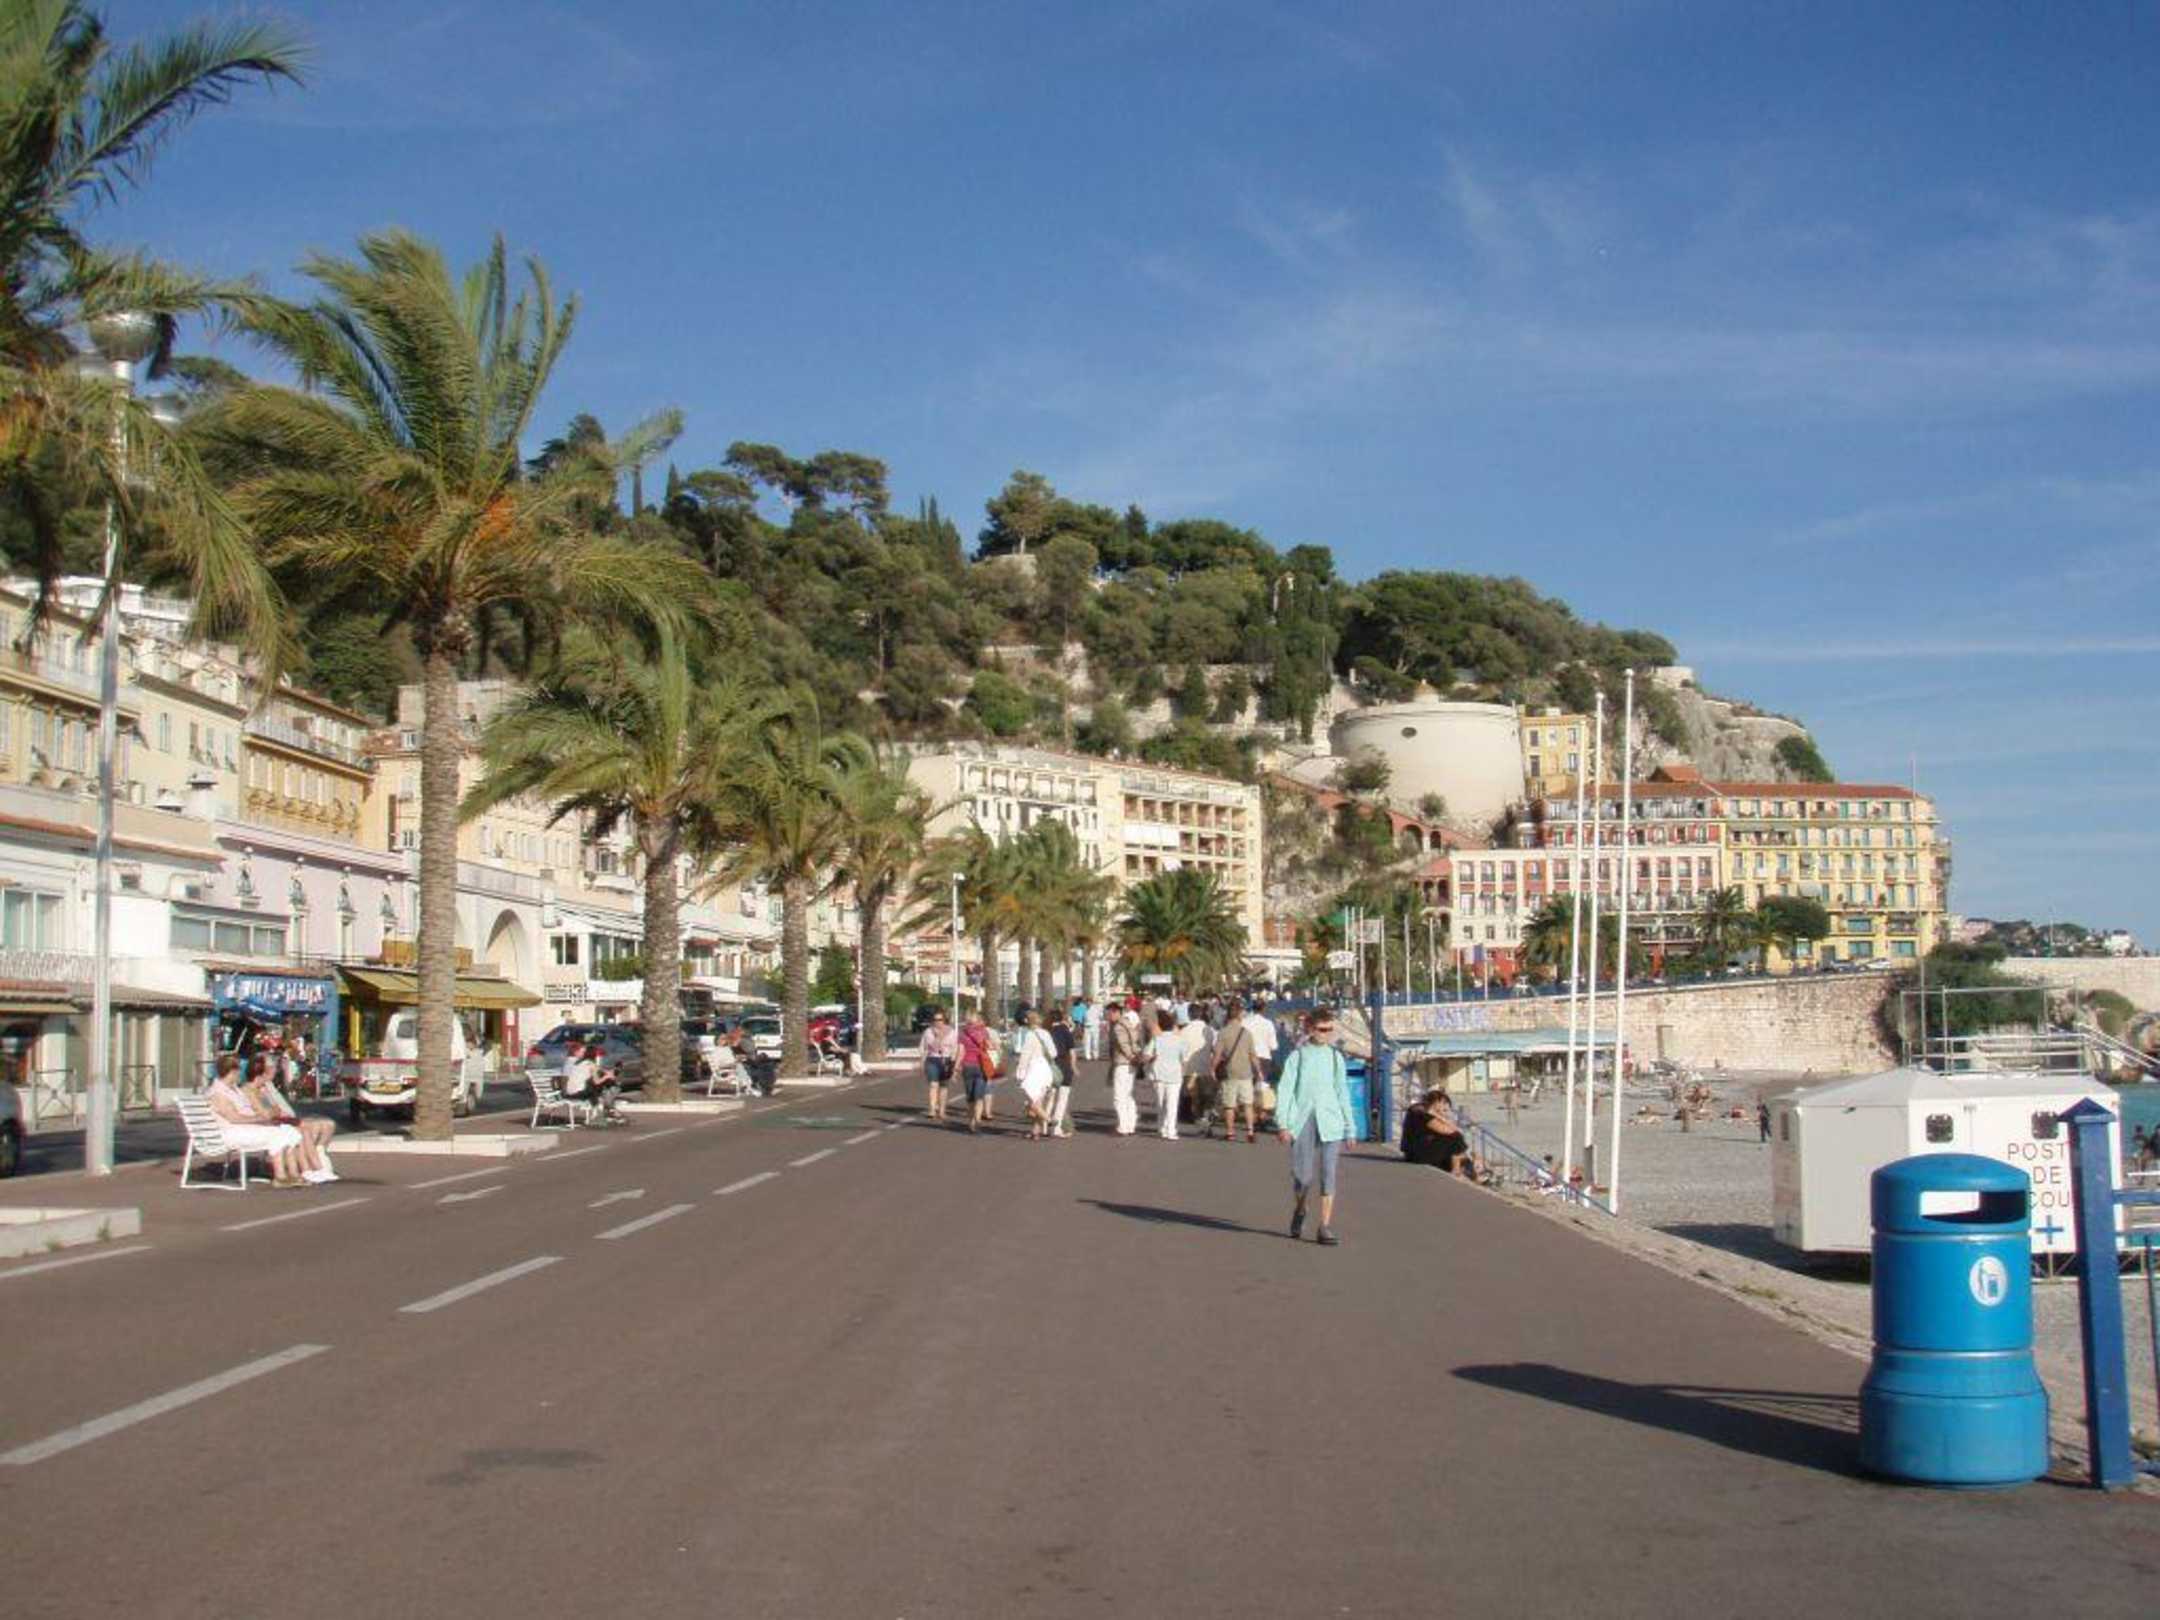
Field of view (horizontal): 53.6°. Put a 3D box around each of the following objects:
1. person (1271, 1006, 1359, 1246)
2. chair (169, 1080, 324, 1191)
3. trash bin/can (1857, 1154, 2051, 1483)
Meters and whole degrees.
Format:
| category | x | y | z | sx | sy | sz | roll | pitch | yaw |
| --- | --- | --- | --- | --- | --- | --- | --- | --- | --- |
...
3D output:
| category | x | y | z | sx | sy | sz | roll | pitch | yaw |
| --- | --- | --- | --- | --- | --- | --- | --- | --- | --- |
| person | 2.078 | 2.778 | 19.226 | 0.734 | 2.270 | 0.597 | -2 | -1 | -7 |
| chair | -9.786 | 3.861 | 24.976 | 1.268 | 1.050 | 3.621 | 4 | -9 | -21 |
| trash bin/can | 4.274 | 2.513 | 10.536 | 0.830 | 1.565 | 0.377 | -2 | -7 | 19 |
